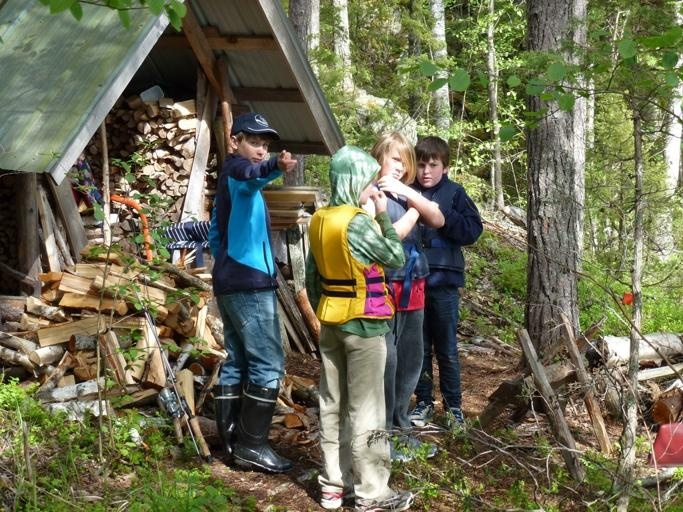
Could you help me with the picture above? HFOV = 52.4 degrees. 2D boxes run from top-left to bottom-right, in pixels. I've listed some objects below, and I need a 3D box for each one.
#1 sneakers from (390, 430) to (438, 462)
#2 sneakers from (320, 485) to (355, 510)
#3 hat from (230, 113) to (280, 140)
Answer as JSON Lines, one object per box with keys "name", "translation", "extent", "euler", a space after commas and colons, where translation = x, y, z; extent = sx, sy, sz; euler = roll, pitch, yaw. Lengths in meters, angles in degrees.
{"name": "sneakers", "translation": [0.554, 1.590, 5.702], "extent": [0.495, 0.222, 0.165], "euler": [-6, 17, -20]}
{"name": "sneakers", "translation": [-0.021, 1.842, 5.399], "extent": [0.123, 0.162, 0.342], "euler": [2, 0, 35]}
{"name": "hat", "translation": [-0.727, -1.084, 5.815], "extent": [0.312, 0.179, 0.234], "euler": [-1, 3, 26]}
